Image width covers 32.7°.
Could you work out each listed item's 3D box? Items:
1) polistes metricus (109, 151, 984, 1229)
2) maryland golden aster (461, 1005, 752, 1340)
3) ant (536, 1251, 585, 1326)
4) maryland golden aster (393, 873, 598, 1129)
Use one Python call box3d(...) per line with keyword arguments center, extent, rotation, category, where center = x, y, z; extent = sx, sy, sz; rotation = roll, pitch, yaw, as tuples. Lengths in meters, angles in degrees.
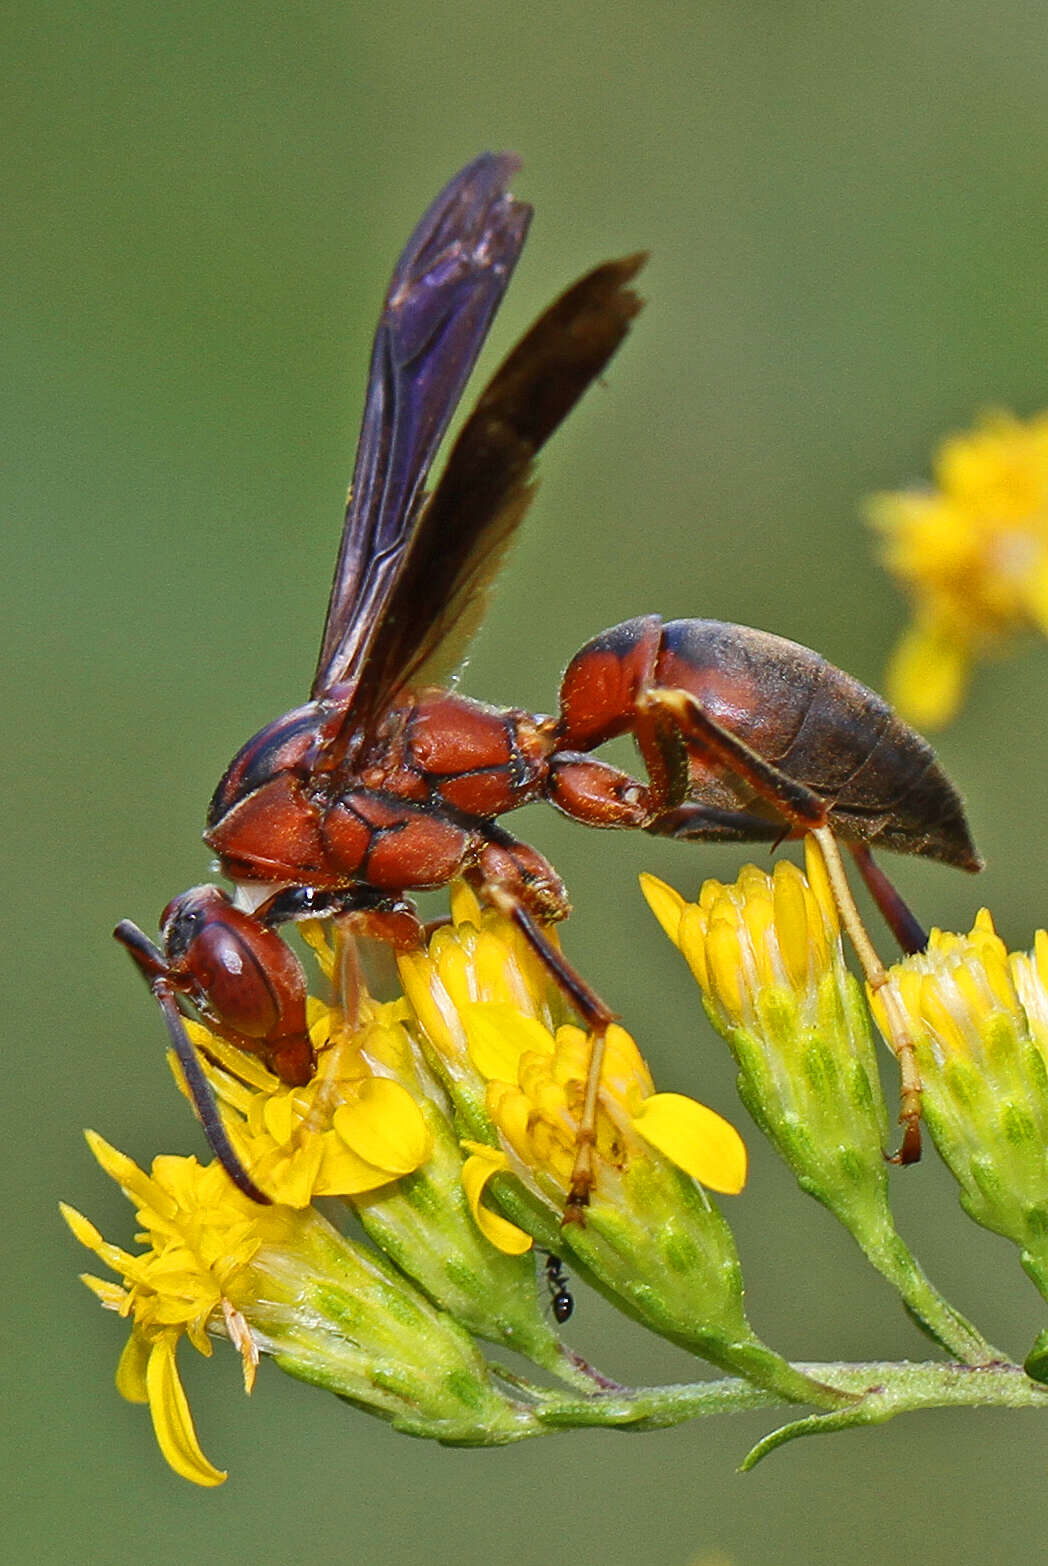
box3d(center=(-0.055, -0.063, 3.100), extent=(1.485, 1.229, 1.705), rotation=(0, -11, 0), category="polistes metricus")
box3d(center=(0.088, 0.488, 2.242), extent=(0.399, 0.371, 0.195), rotation=(7, -26, 16), category="maryland golden aster")
box3d(center=(0.051, 0.730, 2.533), extent=(0.037, 0.103, 0.084), rotation=(-3, -1, 13), category="ant")
box3d(center=(-0.064, 0.301, 2.432), extent=(0.227, 0.285, 0.259), rotation=(-3, 11, -12), category="maryland golden aster")
